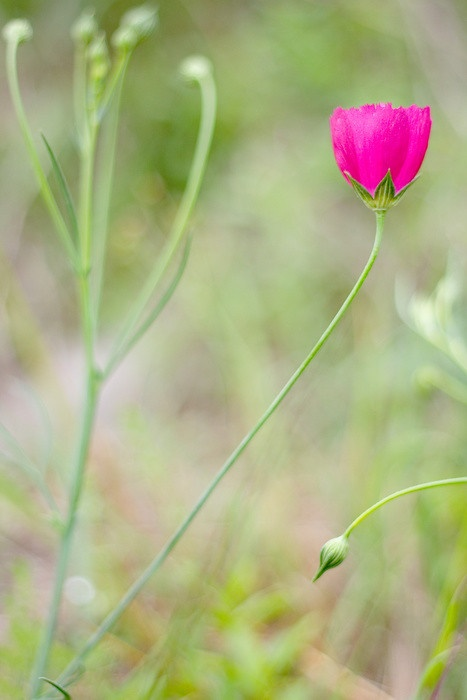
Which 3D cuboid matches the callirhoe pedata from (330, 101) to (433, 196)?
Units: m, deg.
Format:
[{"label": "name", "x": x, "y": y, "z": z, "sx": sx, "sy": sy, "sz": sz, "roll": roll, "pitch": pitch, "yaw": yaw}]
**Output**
[{"label": "callirhoe pedata", "x": 0.048, "y": -0.057, "z": 0.214, "sx": 0.026, "sy": 0.030, "sz": 0.029, "roll": -17, "pitch": -30, "yaw": 41}]
